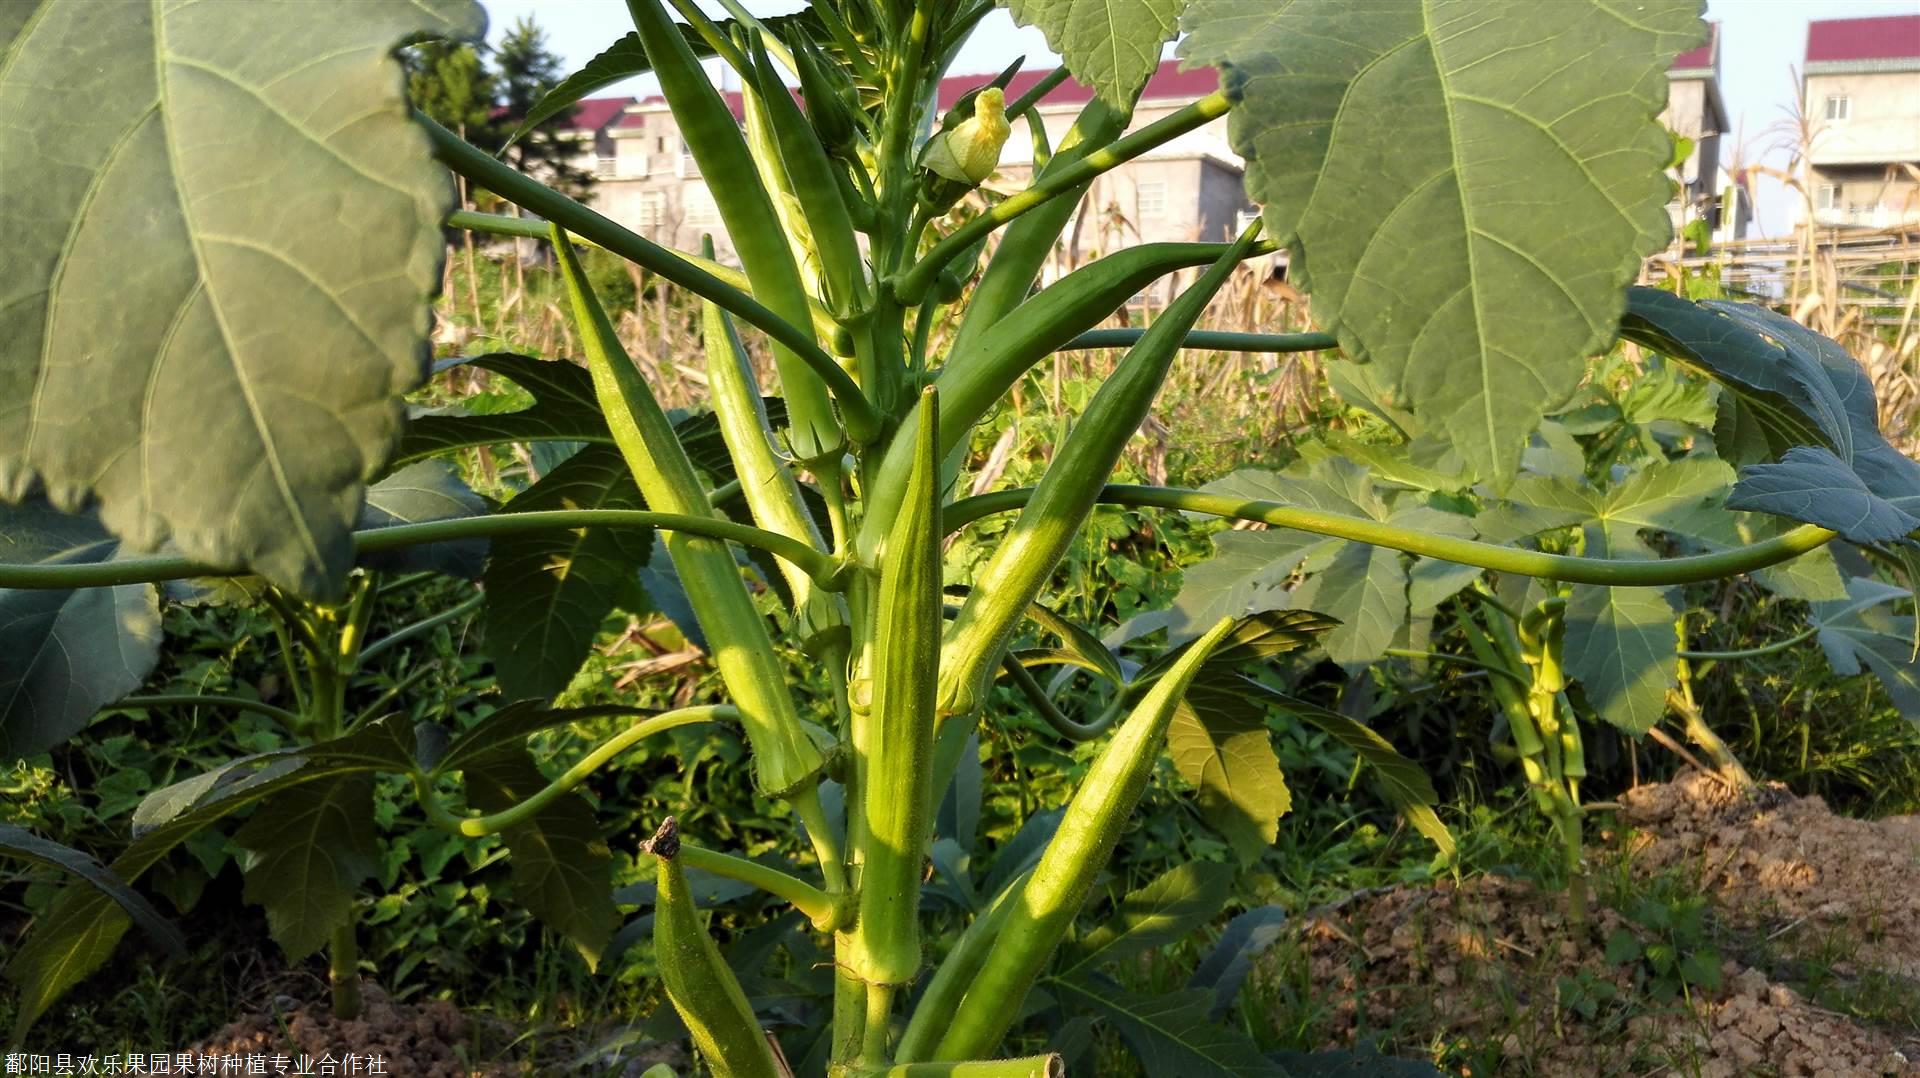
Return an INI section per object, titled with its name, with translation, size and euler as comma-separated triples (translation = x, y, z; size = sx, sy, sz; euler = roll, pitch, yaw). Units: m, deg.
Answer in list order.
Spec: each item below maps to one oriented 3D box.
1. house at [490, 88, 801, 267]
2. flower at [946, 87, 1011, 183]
[house]
translation = -9.602, -10.213, 40.071
size = 3.849, 5.704, 6.202
euler = -14, 17, -30
[flower]
translation = 0.024, -0.502, 1.913
size = 0.073, 0.116, 0.058
euler = 21, 21, 0
